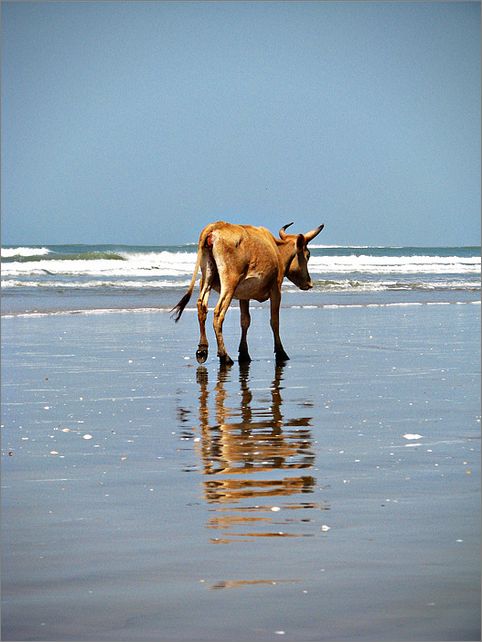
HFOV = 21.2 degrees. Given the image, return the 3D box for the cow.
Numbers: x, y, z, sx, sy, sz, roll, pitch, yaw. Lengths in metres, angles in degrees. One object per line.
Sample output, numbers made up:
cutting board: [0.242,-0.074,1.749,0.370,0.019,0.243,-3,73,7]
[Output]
cow: [0.271,-0.423,15.559,1.006,1.608,2.812,2,7,21]
